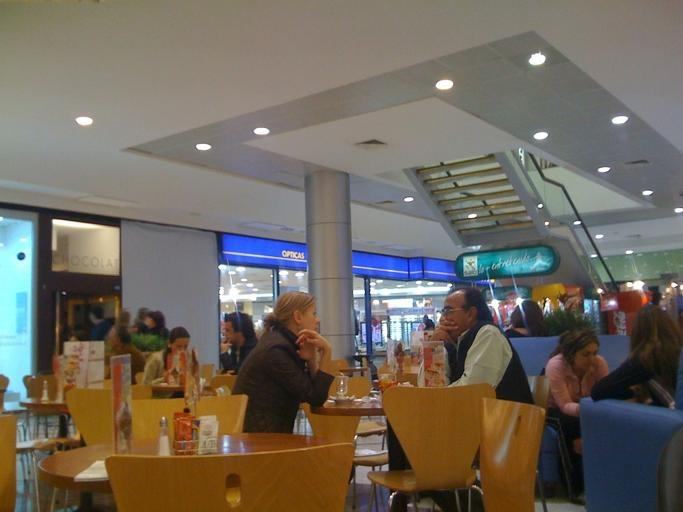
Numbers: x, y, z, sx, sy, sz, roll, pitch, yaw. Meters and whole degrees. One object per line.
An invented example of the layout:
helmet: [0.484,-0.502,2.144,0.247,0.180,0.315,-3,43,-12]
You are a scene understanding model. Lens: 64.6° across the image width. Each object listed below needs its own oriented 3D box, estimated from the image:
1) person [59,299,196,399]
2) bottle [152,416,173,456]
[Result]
person: [-2.642,1.038,6.436,1.264,1.283,0.458,2,9,-35]
bottle: [-0.681,0.689,2.085,0.046,0.145,0.293,-1,-11,-18]
